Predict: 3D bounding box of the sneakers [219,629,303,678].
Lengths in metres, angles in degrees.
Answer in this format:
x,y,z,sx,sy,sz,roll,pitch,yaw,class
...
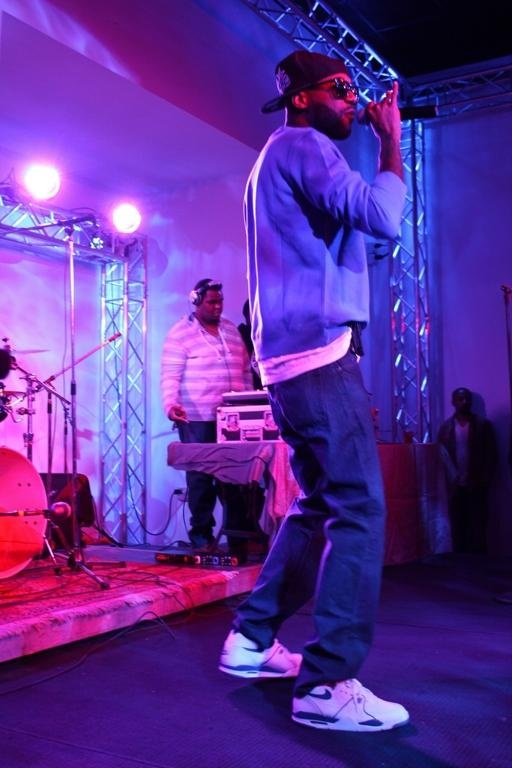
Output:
x,y,z,sx,sy,sz,roll,pitch,yaw,class
0.041,0.705,1.586,0.261,0.116,0.090,14,2,-30,sneakers

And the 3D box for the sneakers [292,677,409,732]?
x,y,z,sx,sy,sz,roll,pitch,yaw,class
0.198,0.702,1.335,0.259,0.117,0.104,0,-20,2,sneakers

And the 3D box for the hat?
x,y,z,sx,sy,sz,roll,pitch,yaw,class
0.116,-0.747,1.508,0.222,0.114,0.165,-15,3,9,hat

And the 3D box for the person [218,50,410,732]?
x,y,z,sx,sy,sz,roll,pitch,yaw,class
0.153,-0.018,1.473,0.336,1.577,0.612,4,-12,-24,person

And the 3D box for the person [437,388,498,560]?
x,y,z,sx,sy,sz,roll,pitch,yaw,class
2.012,0.811,5.714,0.505,1.553,0.242,-4,-11,14,person

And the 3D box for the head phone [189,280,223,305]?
x,y,z,sx,sy,sz,roll,pitch,yaw,class
-0.352,-0.647,4.183,0.233,0.198,0.162,-3,-11,9,head phone
